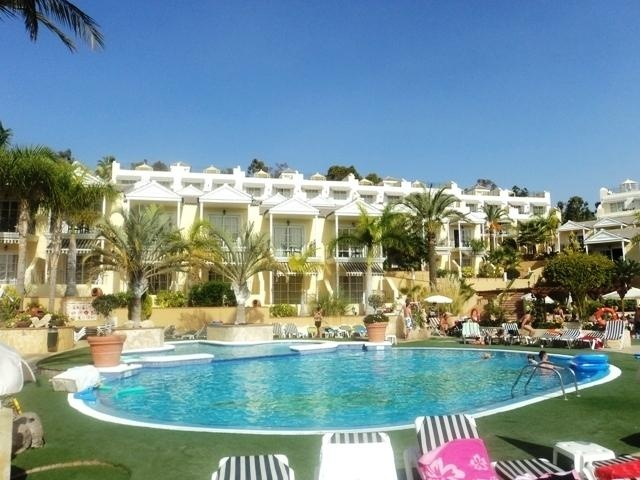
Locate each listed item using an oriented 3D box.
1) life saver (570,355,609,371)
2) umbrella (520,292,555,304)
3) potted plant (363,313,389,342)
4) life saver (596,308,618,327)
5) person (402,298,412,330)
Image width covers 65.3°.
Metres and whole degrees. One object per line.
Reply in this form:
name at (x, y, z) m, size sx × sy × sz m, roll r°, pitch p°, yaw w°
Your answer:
life saver at (8.684, 3.969, 15.991) m, size 0.948 × 0.310 × 0.732 m, roll -2°, pitch -4°, yaw 1°
umbrella at (12.844, 3.478, 29.268) m, size 1.538 × 0.563 × 1.495 m, roll 0°, pitch -2°, yaw 12°
potted plant at (2.662, 4.240, 24.052) m, size 1.142 × 1.209 × 1.184 m, roll 1°, pitch -13°, yaw -2°
life saver at (13.957, 3.789, 24.317) m, size 1.093 × 0.725 × 0.422 m, roll 25°, pitch -4°, yaw -41°
person at (4.820, 4.125, 27.424) m, size 0.485 × 1.626 × 1.532 m, roll -3°, pitch -7°, yaw 10°
